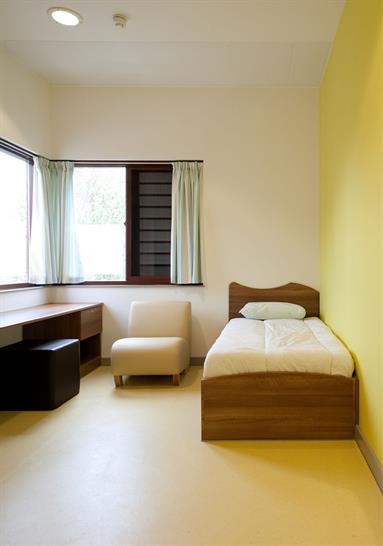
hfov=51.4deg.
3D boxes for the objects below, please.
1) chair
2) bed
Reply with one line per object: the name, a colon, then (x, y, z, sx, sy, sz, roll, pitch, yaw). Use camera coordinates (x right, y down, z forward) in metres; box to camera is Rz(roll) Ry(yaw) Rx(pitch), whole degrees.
chair: (-0.330, 0.596, 3.508, 0.581, 0.703, 0.723, -1, 0, 6)
bed: (0.534, 0.563, 2.700, 0.507, 0.719, 1.091, -1, -4, 8)
